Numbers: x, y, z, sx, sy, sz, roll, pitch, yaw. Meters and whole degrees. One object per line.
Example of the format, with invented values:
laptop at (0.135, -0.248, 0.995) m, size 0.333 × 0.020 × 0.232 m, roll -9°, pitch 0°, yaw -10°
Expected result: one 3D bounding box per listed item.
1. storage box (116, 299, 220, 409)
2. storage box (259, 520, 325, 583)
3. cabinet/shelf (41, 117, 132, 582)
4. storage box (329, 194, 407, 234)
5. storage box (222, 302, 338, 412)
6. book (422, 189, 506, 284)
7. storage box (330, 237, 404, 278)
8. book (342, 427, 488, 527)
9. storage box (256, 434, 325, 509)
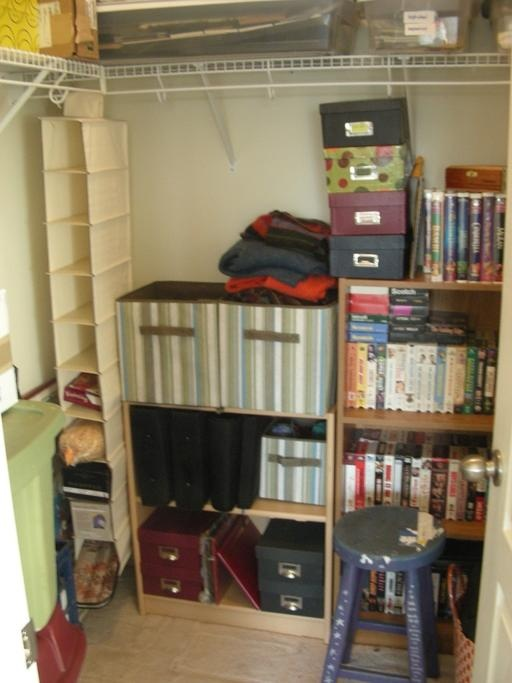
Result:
storage box at (-0.250, 0.011, 2.217) m, size 0.455 × 0.432 × 0.357 m, roll 5°, pitch 22°, yaw 13°
storage box at (0.137, 0.799, 2.216) m, size 0.248 × 0.141 × 0.250 m, roll -1°, pitch 8°, yaw 7°
cabinet/shelf at (-0.597, 0.051, 2.168) m, size 0.278 × 1.698 × 0.460 m, roll -2°, pitch 8°, yaw 2°
storage box at (0.347, -0.397, 1.785) m, size 0.162 × 0.096 × 0.160 m, roll 5°, pitch 18°, yaw 20°
storage box at (0.100, 0.021, 2.127) m, size 0.474 × 0.458 × 0.352 m, roll 3°, pitch 14°, yaw 17°
book at (0.628, -0.310, 1.862) m, size 0.250 × 0.327 × 0.328 m, roll 2°, pitch 5°, yaw 14°
storage box at (0.349, -0.265, 1.815) m, size 0.164 × 0.097 × 0.162 m, roll 5°, pitch 15°, yaw 23°
book at (0.519, 0.458, 1.899) m, size 0.374 × 0.341 × 0.202 m, roll 4°, pitch 16°, yaw 18°
storage box at (0.131, 0.457, 2.184) m, size 0.251 × 0.242 × 0.251 m, roll 3°, pitch 5°, yaw 15°
